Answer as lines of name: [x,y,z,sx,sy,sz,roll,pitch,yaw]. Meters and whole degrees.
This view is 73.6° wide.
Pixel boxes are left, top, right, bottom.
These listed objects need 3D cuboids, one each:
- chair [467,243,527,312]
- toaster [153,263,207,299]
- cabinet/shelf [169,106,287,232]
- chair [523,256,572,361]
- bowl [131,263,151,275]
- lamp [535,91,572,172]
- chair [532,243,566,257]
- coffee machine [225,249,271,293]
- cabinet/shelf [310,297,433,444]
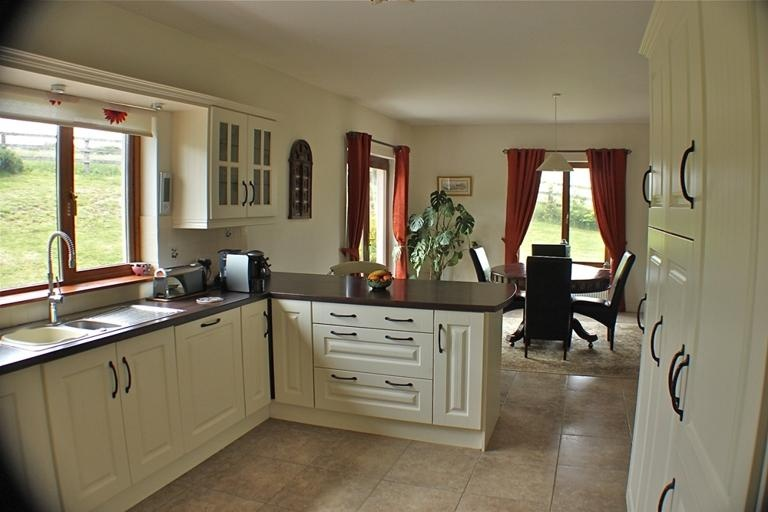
chair: [1.453,0.304,6.571,0.549,0.805,0.491,0,-26,1]
toaster: [-1.552,0.193,3.908,0.168,0.213,0.432,3,6,24]
cabinet/shelf: [-1.322,-0.727,4.400,0.408,0.956,1.003,5,9,15]
chair: [1.906,0.570,5.593,0.564,1.012,0.636,0,-9,38]
bowl: [-1.844,0.102,3.898,0.107,0.063,0.107,-4,3,0]
lamp: [2.111,-1.518,6.311,0.528,1.006,0.510,-2,4,-2]
chair: [2.218,-0.066,6.877,0.335,0.225,0.229,2,8,20]
coffee machine: [-1.073,0.130,4.097,0.339,0.327,0.200,2,4,19]
cabinet/shelf: [-0.008,0.774,4.065,0.979,0.892,0.569,2,4,20]
